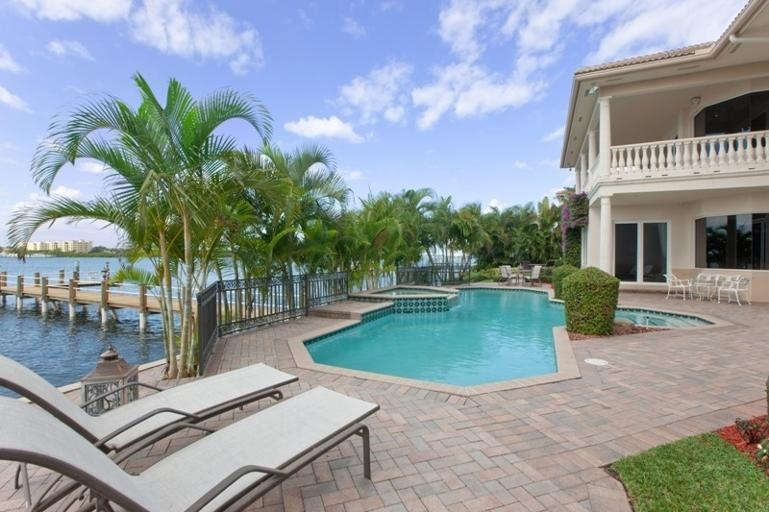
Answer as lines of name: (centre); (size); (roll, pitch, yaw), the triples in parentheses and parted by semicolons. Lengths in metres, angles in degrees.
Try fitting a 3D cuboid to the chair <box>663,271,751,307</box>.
chair: (11.697, 1.128, 17.069); (1.289, 1.372, 2.810); (-2, -4, -23)
